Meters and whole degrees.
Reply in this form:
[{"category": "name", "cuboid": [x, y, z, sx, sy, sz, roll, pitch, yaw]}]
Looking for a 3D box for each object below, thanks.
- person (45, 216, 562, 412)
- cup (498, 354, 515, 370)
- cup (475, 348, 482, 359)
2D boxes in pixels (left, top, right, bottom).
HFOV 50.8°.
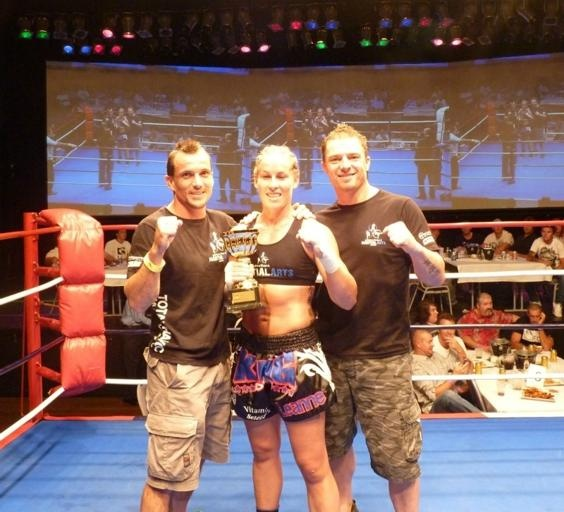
[{"category": "person", "cuboid": [0.171, 0.411, 3.546, 2.911, 1.245, 0.928, -1, -4, 1]}, {"category": "cup", "cuboid": [1.865, 0.883, 4.930, 0.144, 0.123, 0.127, 0, 6, 20]}, {"category": "cup", "cuboid": [1.845, 0.919, 5.562, 0.098, 0.089, 0.093, 5, 0, 0]}]
